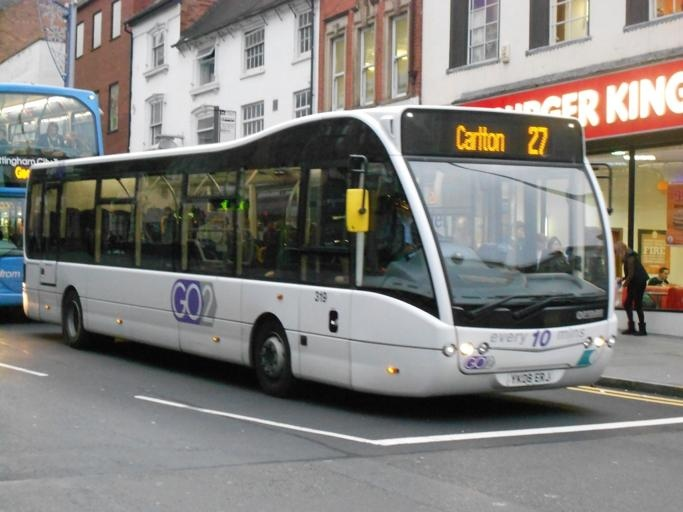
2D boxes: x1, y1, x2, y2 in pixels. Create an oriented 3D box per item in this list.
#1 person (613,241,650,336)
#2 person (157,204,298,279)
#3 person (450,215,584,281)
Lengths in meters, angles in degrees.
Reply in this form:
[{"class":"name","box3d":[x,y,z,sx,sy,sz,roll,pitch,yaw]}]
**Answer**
[{"class":"person","box3d":[6.737,0.758,15.938,0.616,1.951,0.814,1,0,22]},{"class":"person","box3d":[-1.585,-0.246,10.103,0.871,1.291,2.303,1,-1,-40]},{"class":"person","box3d":[2.059,-0.060,7.914,0.724,0.408,1.013,3,-6,-23]}]
